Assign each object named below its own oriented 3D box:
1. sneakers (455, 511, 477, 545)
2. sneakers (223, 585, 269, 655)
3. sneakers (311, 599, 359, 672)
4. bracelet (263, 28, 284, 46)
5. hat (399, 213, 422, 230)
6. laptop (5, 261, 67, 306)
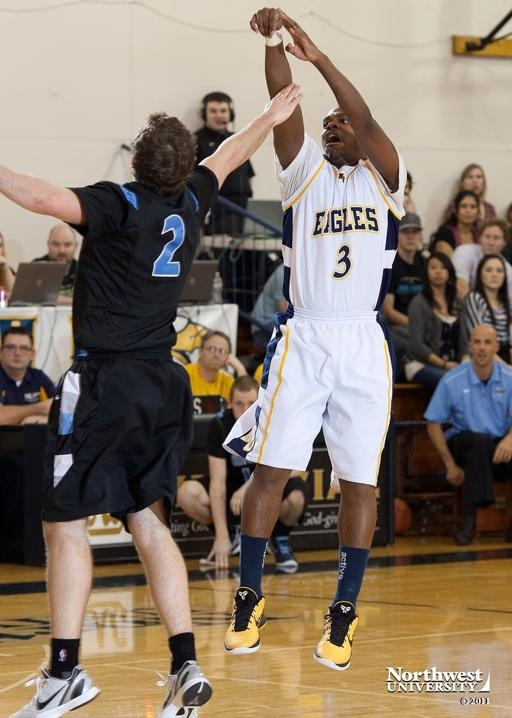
[{"bbox_3d":[1.289,1.062,5.335,0.092,0.096,0.261,-1,2,15],"label":"sneakers"},{"bbox_3d":[-0.025,0.724,2.354,0.079,0.095,0.223,0,4,8],"label":"sneakers"},{"bbox_3d":[0.228,0.745,2.381,0.085,0.100,0.241,16,25,7],"label":"sneakers"},{"bbox_3d":[0.049,-0.951,2.567,0.058,0.056,0.053,-8,45,-6],"label":"bracelet"},{"bbox_3d":[1.338,-1.188,7.553,0.240,0.124,0.326,1,-5,0],"label":"hat"},{"bbox_3d":[-1.404,-0.486,5.620,0.388,0.326,0.274,4,8,-21],"label":"laptop"}]
